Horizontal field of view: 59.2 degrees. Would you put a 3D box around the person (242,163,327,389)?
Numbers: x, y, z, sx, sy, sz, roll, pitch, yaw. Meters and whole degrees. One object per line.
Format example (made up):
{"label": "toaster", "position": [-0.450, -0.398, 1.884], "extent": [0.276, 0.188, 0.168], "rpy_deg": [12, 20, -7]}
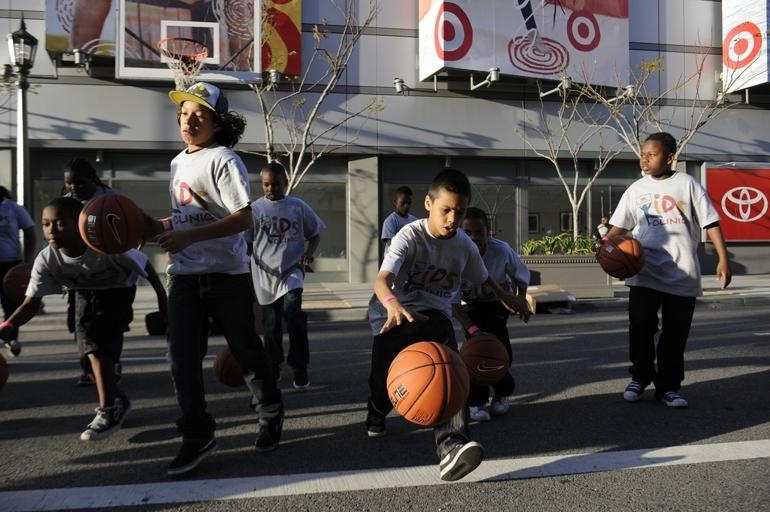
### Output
{"label": "person", "position": [-1.424, 0.253, 8.954], "extent": [1.015, 2.926, 1.272], "rpy_deg": [-1, 4, 21]}

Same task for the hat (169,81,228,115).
{"label": "hat", "position": [-1.796, -1.544, 6.572], "extent": [0.481, 0.255, 0.331], "rpy_deg": [9, 11, -38]}

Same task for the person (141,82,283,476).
{"label": "person", "position": [-1.692, 0.138, 6.553], "extent": [1.110, 3.615, 0.851], "rpy_deg": [-4, 8, -22]}
